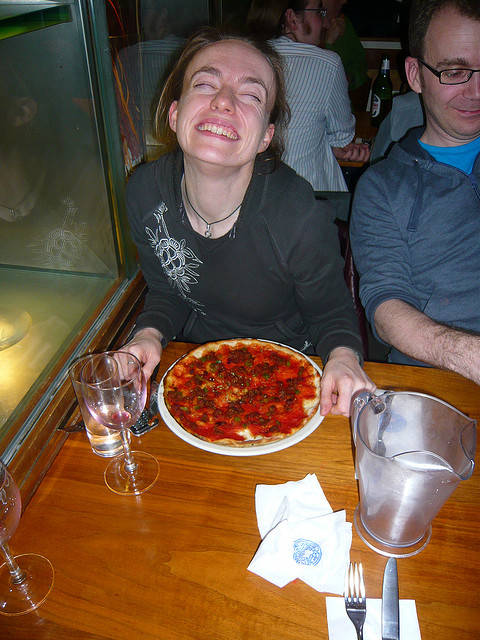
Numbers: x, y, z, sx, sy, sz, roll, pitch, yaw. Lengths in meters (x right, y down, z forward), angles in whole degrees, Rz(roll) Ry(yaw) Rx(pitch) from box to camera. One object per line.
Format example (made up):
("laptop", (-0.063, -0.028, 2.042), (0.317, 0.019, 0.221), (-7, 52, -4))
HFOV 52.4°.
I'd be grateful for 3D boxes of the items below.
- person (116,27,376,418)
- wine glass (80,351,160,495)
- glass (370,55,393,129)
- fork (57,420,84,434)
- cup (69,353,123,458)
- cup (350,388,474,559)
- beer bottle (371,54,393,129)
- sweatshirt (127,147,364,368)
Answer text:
("person", (-0.014, -0.180, 1.609), (0.624, 1.303, 0.619), (0, 28, 4))
("wine glass", (-0.255, 0.227, 1.028), (0.124, 0.264, 0.124), (-30, 48, -30))
("glass", (1.042, -1.681, 3.586), (0.153, 0.517, 0.136), (-8, 32, -7))
("fork", (-0.363, 0.237, 1.091), (0.093, 0.020, 0.020), (-6, -4, -17))
("cup", (-0.297, 0.185, 1.038), (0.127, 0.203, 0.122), (-2, 32, 1))
("cup", (0.275, 0.252, 0.844), (0.177, 0.267, 0.206), (8, 38, 13))
("beer bottle", (1.038, -1.686, 3.563), (0.151, 0.518, 0.139), (-4, 48, 4))
("sweatshirt", (-0.028, -0.137, 1.623), (0.636, 0.752, 0.556), (3, 29, -6))
